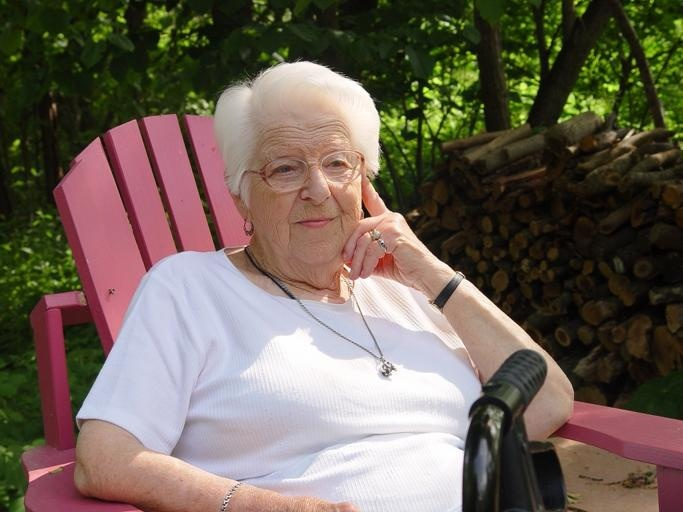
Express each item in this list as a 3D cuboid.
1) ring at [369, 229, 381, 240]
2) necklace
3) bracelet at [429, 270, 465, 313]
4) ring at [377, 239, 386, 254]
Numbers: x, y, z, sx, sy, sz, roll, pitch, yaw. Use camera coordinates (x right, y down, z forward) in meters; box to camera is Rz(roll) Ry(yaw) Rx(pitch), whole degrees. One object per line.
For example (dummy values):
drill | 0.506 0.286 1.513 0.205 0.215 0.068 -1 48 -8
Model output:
ring | 0.156 -0.095 3.461 0.027 0.028 0.057 -3 -23 -1
necklace | -0.110 0.259 3.275 0.362 0.827 0.071 -5 -40 -52
bracelet | 0.475 0.161 3.410 0.112 0.065 0.122 -34 -24 -55
ring | 0.185 -0.044 3.457 0.022 0.058 0.046 -25 2 -5
